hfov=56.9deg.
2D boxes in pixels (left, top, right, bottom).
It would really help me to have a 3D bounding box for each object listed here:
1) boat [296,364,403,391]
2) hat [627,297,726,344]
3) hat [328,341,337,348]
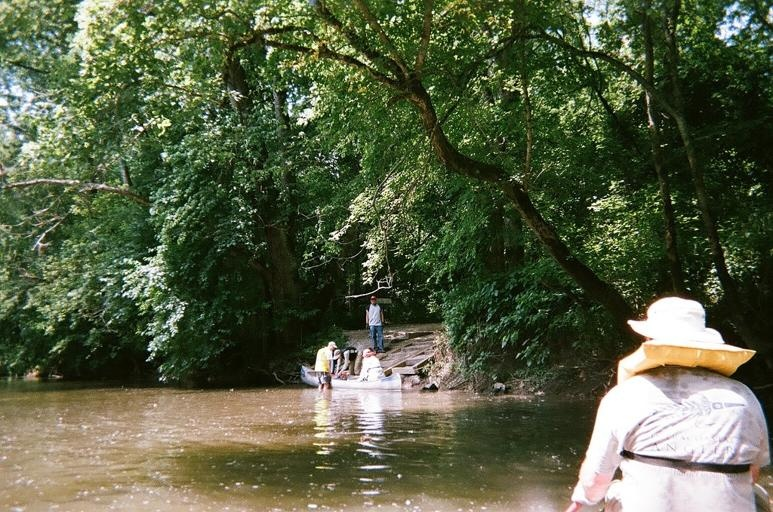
[{"bbox_3d":[-1.514,4.775,27.828,0.950,1.173,5.656,5,-14,-39],"label":"boat"},{"bbox_3d":[4.152,0.963,10.235,0.869,0.359,0.830,9,-7,-7],"label":"hat"},{"bbox_3d":[-2.063,3.593,28.489,0.410,0.215,0.306,5,-1,-23],"label":"hat"}]
